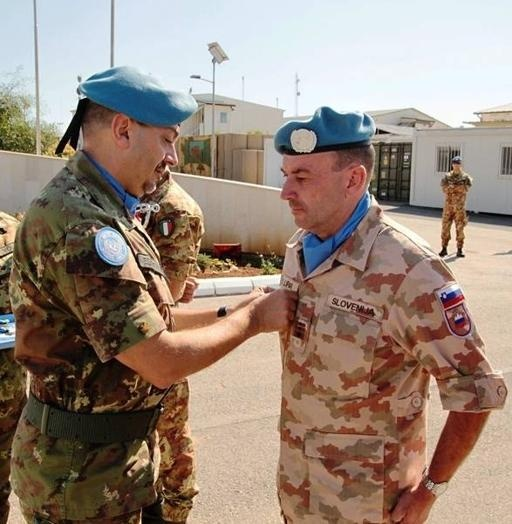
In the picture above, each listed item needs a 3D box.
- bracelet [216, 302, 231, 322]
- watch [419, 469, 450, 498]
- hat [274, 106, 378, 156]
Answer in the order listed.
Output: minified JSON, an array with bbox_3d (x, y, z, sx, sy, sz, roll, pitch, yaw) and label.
[{"bbox_3d":[-0.162,0.244,2.580,0.048,0.068,0.077,24,52,31],"label":"bracelet"},{"bbox_3d":[0.587,0.736,1.774,0.078,0.050,0.092,24,-25,-13],"label":"watch"},{"bbox_3d":[0.249,-0.479,2.037,0.354,0.125,0.417,-10,4,36],"label":"hat"}]
